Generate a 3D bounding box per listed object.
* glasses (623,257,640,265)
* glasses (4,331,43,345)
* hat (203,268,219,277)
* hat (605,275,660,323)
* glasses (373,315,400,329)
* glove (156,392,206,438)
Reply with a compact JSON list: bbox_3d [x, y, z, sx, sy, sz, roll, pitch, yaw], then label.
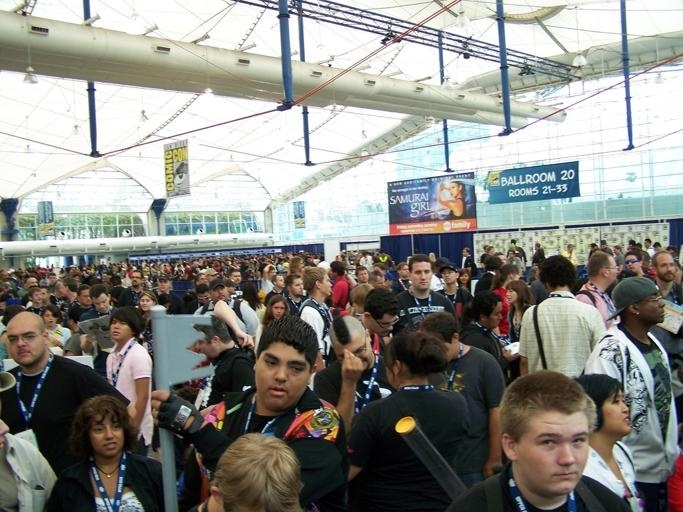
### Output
[{"bbox_3d":[4.349,0.078,8.451,0.156,0.158,0.052,-14,29,53],"label":"glasses"},{"bbox_3d":[-2.067,0.541,3.706,0.228,0.103,0.115,-2,0,-24],"label":"glasses"},{"bbox_3d":[-2.521,0.323,10.763,0.289,0.129,0.182,-4,0,21],"label":"hat"},{"bbox_3d":[1.977,0.284,3.878,0.358,0.170,0.251,-26,-2,16],"label":"hat"},{"bbox_3d":[0.342,0.538,4.466,0.192,0.106,0.138,-2,0,-21],"label":"glasses"},{"bbox_3d":[-0.684,0.675,2.391,0.238,0.155,0.079,22,13,-16],"label":"glove"}]
